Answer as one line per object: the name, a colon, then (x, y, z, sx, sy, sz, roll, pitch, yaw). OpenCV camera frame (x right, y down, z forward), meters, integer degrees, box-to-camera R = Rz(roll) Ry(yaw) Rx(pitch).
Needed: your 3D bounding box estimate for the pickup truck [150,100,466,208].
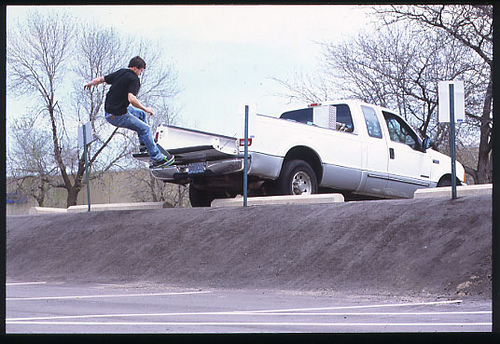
pickup truck: (1.365, -0.527, 16.841, 7.415, 2.726, 2.634, -2, 2, -28)

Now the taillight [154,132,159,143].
taillight: (-2.355, -0.887, 16.109, 0.043, 0.189, 0.175, 16, -7, -31)
